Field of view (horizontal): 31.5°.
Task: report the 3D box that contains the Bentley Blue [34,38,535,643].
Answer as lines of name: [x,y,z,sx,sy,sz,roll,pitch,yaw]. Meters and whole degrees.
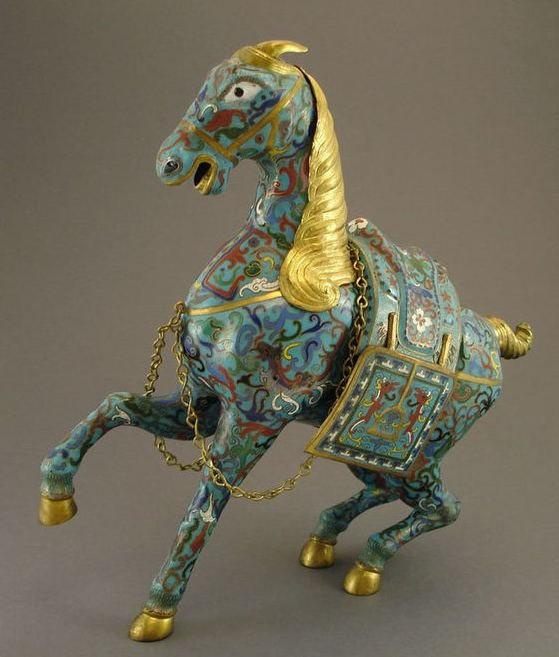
Bentley Blue: [-0.095,-0.050,2.493,1.185,1.424,0.871,-11,30,-28]
